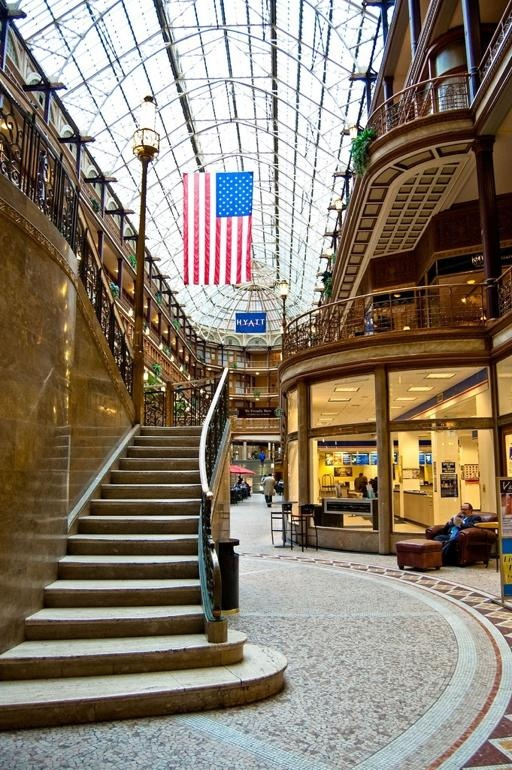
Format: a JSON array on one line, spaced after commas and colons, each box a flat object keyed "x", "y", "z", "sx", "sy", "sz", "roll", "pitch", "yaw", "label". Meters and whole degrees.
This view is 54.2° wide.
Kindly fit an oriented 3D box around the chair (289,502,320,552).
[{"x": 1.143, "y": 3.471, "z": 12.407, "sx": 0.639, "sy": 1.032, "sz": 1.747, "roll": 0, "pitch": -11, "yaw": 0, "label": "chair"}]

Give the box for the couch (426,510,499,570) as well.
[{"x": 3.977, "y": 3.012, "z": 9.511, "sx": 1.033, "sy": 1.032, "sz": 1.098, "roll": 13, "pitch": -22, "yaw": -28, "label": "couch"}]
